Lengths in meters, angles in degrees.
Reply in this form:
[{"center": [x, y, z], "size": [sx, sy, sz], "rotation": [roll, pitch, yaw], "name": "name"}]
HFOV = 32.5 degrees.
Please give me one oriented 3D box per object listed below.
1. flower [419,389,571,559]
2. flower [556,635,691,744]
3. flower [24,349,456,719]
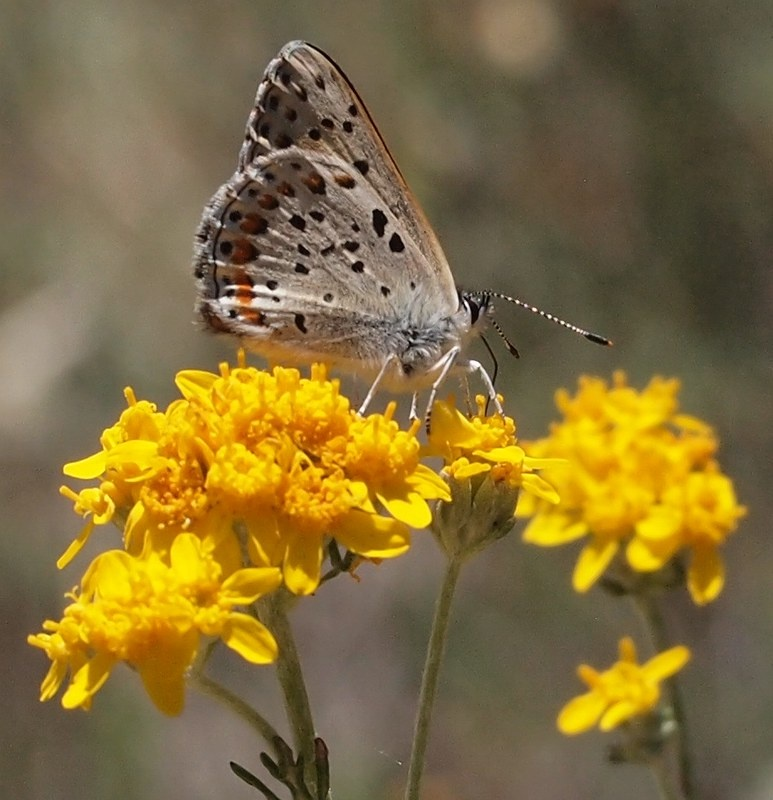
[{"center": [0.143, 0.110, 1.813], "size": [0.222, 0.163, 0.218], "rotation": [5, -8, 0], "name": "flower"}, {"center": [0.340, 0.419, 1.930], "size": [0.211, 0.093, 0.142], "rotation": [-23, 19, 0], "name": "flower"}, {"center": [-0.187, 0.175, 1.773], "size": [0.202, 0.496, 0.482], "rotation": [36, 27, -53], "name": "flower"}]
